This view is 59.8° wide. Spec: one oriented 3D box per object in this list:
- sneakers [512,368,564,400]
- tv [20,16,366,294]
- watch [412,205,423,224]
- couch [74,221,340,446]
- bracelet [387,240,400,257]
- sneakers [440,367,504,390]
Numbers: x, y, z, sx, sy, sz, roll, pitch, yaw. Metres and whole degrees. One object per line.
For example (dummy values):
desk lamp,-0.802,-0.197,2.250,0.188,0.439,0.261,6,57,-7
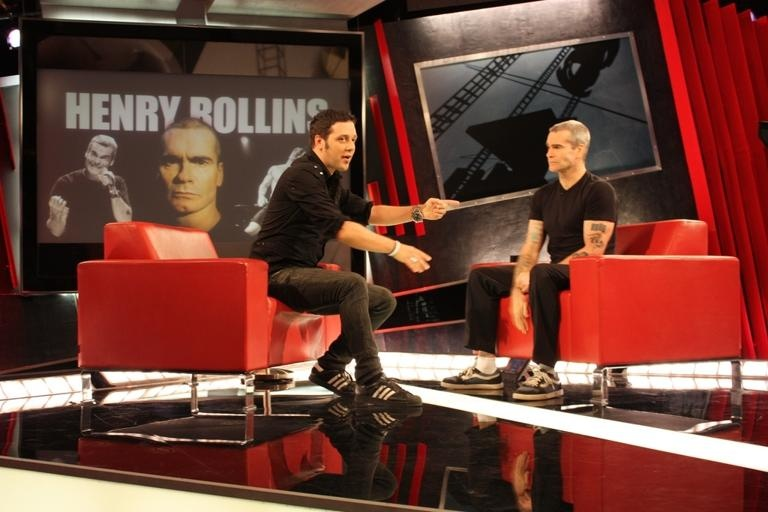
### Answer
sneakers,0.910,0.747,3.942,0.447,0.175,0.175,5,-6,-45
tv,-1.540,-0.732,5.289,3.172,1.858,0.131,5,7,17
watch,0.225,-0.274,4.489,0.084,0.095,0.029,-1,10,-33
couch,-0.832,0.330,3.980,1.228,1.159,1.414,-2,-4,14
bracelet,0.067,-0.052,3.831,0.031,0.081,0.082,34,21,-10
sneakers,0.565,0.775,4.257,0.422,0.133,0.141,2,-7,8
